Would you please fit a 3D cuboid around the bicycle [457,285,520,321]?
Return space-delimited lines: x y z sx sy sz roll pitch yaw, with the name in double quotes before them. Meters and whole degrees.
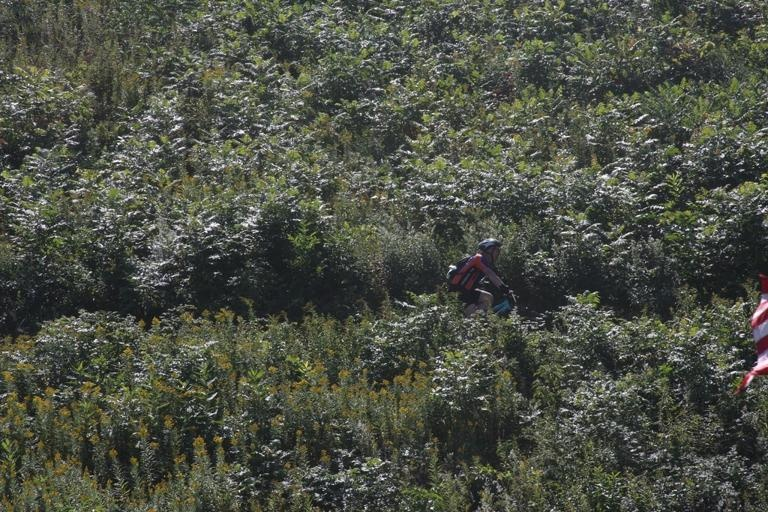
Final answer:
"bicycle" 2.518 1.045 52.086 1.140 1.049 0.765 -12 34 -10
